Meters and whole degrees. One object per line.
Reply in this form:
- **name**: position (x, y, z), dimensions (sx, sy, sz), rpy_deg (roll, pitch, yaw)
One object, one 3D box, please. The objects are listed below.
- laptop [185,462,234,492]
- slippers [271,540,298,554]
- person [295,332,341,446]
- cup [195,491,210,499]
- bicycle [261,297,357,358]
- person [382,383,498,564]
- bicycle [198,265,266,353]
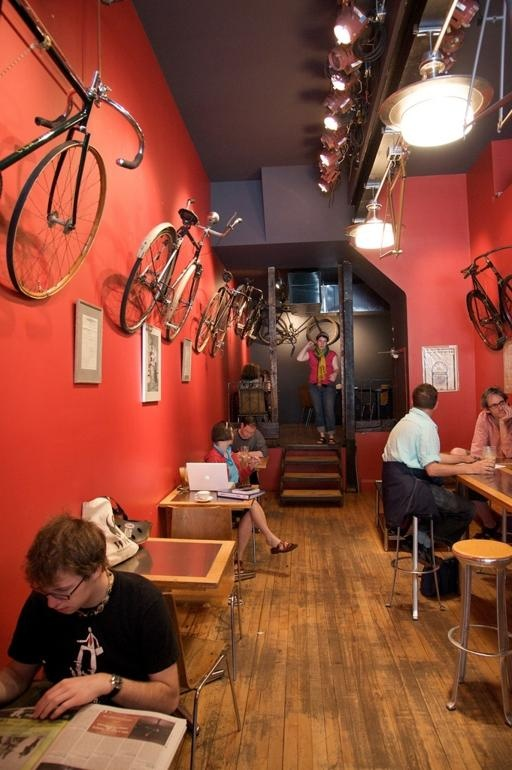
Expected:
- **laptop**: position (-0.343, 0.649, 3.918), dimensions (0.255, 0.210, 0.223), rpy_deg (1, 3, 9)
- **slippers**: position (0.218, 1.331, 4.489), dimensions (0.232, 0.108, 0.126), rpy_deg (-9, 7, 4)
- **person**: position (0.897, 0.026, 8.057), dimensions (0.513, 1.522, 0.808), rpy_deg (-1, 0, 4)
- **cup**: position (-0.354, 0.738, 3.700), dimensions (0.062, 0.031, 0.064), rpy_deg (-2, 9, 0)
- **bicycle**: position (0.879, -1.254, 11.984), dimensions (1.771, 1.258, 0.937), rpy_deg (4, 23, 2)
- **person**: position (1.216, 0.649, 3.824), dimensions (0.710, 1.281, 0.546), rpy_deg (-2, 1, -9)
- **bicycle**: position (-0.438, -0.898, 6.858), dimensions (0.537, 0.788, 1.495), rpy_deg (23, 13, 6)
